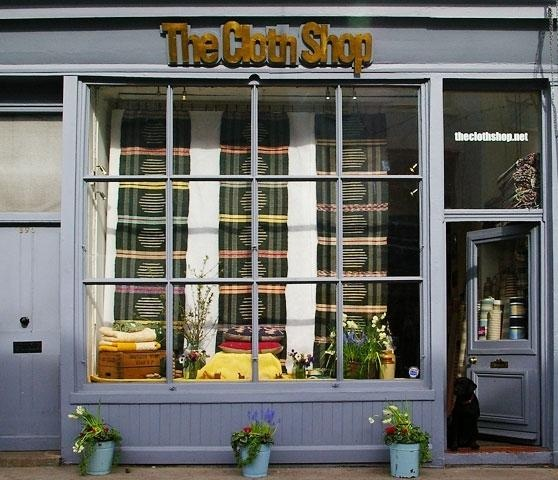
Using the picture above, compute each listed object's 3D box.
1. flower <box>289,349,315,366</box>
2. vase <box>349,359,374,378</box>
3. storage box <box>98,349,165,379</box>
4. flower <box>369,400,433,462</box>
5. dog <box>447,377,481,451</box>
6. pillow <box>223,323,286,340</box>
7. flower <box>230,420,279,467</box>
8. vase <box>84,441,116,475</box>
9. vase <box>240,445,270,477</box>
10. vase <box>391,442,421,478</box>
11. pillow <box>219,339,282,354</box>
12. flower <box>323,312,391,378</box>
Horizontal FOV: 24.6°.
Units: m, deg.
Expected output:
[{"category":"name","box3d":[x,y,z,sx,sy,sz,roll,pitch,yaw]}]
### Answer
[{"category":"flower","box3d":[0.257,1.300,13.954,0.207,0.078,0.151,10,4,44]},{"category":"vase","box3d":[0.909,1.428,13.962,0.214,0.167,0.190,-8,-14,39]},{"category":"storage box","box3d":[-1.609,1.377,13.929,0.530,0.257,0.361,-1,-2,5]},{"category":"flower","box3d":[1.317,2.023,13.584,0.620,0.380,0.636,12,-2,1]},{"category":"dog","box3d":[2.044,1.979,14.090,0.260,0.917,0.518,1,16,18]},{"category":"pillow","box3d":[-0.258,1.029,13.960,0.659,0.178,0.048,1,-4,2]},{"category":"flower","box3d":[-0.161,2.202,13.528,0.493,0.533,0.523,-7,-6,16]},{"category":"vase","box3d":[-1.864,2.326,13.436,0.310,0.251,0.293,6,-9,-15]},{"category":"vase","box3d":[-0.206,2.337,13.384,0.301,0.300,0.292,-6,-13,29]},{"category":"vase","box3d":[1.314,2.338,13.382,0.307,0.352,0.330,0,-9,-1]},{"category":"pillow","box3d":[-0.300,1.184,13.953,0.695,0.133,0.060,1,-4,-4]},{"category":"flower","box3d":[0.814,1.226,14.117,0.621,0.714,0.466,3,-3,-25]}]
